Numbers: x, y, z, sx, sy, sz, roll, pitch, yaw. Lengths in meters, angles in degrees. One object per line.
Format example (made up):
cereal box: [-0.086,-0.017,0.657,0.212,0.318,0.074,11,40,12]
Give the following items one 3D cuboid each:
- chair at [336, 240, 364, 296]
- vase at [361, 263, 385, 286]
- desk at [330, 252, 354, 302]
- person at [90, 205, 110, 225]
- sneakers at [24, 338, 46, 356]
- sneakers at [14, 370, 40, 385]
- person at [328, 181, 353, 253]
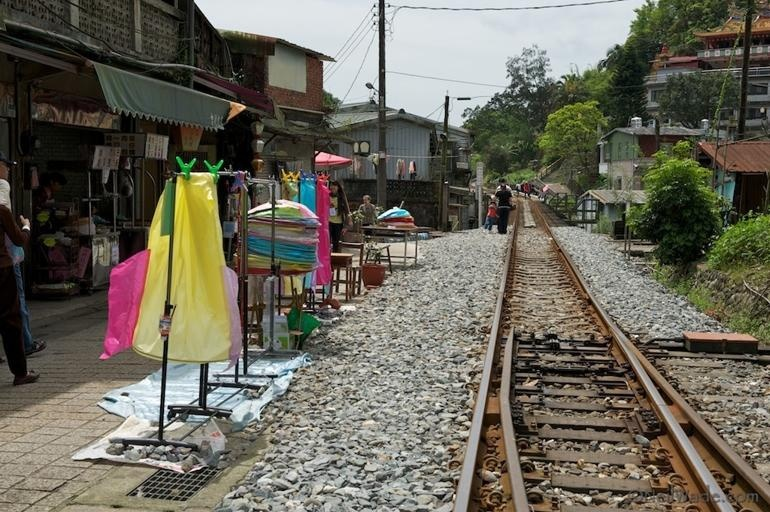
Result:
chair: [-0.916,0.283,14.203,0.831,1.112,0.893,3,5,9]
vase: [-0.285,0.441,15.156,0.504,0.573,0.471,0,10,-3]
desk: [-0.877,0.399,13.700,0.443,0.669,0.425,6,-4,17]
person: [-5.980,-0.829,14.010,0.314,0.335,1.417,-4,11,-22]
sneakers: [-4.837,1.248,9.165,0.114,0.149,0.348,6,10,21]
sneakers: [-4.394,1.475,8.148,0.270,0.116,0.137,-5,9,-20]
person: [-1.170,-1.005,16.846,0.454,1.822,0.934,-1,10,-3]
